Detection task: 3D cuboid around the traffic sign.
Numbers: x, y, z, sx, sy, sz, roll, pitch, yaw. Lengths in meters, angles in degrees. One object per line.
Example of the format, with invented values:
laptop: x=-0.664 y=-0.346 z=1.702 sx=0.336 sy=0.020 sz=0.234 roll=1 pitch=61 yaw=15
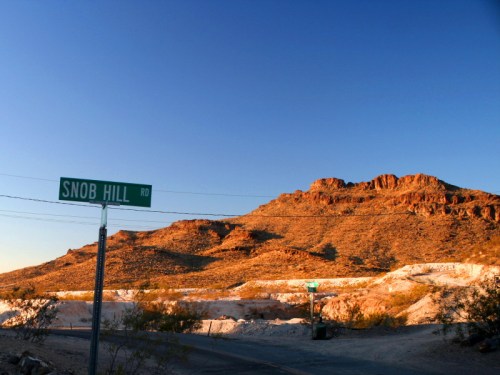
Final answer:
traffic sign: x=-4.629 y=0.159 z=15.672 sx=2.786 sy=0.895 sz=0.175 roll=0 pitch=-5 yaw=-10
